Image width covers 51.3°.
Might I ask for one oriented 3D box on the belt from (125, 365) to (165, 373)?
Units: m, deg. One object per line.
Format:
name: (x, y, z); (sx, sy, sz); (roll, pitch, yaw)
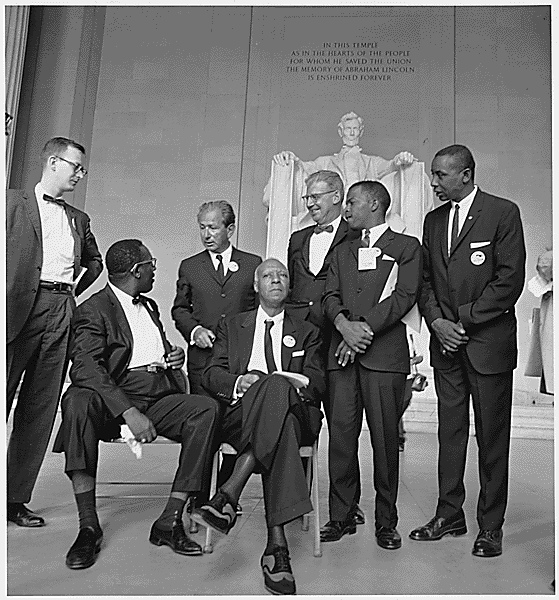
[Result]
belt: (-0.640, 0.328, 2.787); (0.169, 0.035, 0.035); (2, 4, -18)

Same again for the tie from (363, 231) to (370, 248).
tie: (0.439, -0.307, 2.924); (0.041, 0.065, 0.014); (-1, -5, 28)

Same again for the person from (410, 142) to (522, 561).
person: (0.853, 0.201, 2.737); (0.535, 1.867, 0.521); (4, 5, 32)

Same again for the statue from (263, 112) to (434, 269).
statue: (0.570, -0.932, 4.787); (1.379, 1.302, 0.876); (2, 4, -4)

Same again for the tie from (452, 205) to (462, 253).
tie: (0.868, -0.353, 2.840); (0.033, 0.263, 0.033); (2, -26, 10)

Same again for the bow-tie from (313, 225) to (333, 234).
bow-tie: (0.254, -0.405, 3.341); (0.120, 0.053, 0.033); (5, 5, 35)

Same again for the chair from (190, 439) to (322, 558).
chair: (-0.031, 0.835, 2.720); (0.430, 0.467, 0.386); (2, -8, 1)

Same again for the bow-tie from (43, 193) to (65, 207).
bow-tie: (-1.210, -0.539, 3.153); (0.051, 0.060, 0.143); (4, 4, 19)

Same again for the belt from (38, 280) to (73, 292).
belt: (-1.168, -0.076, 3.039); (0.038, 0.055, 0.179); (5, 4, 34)
